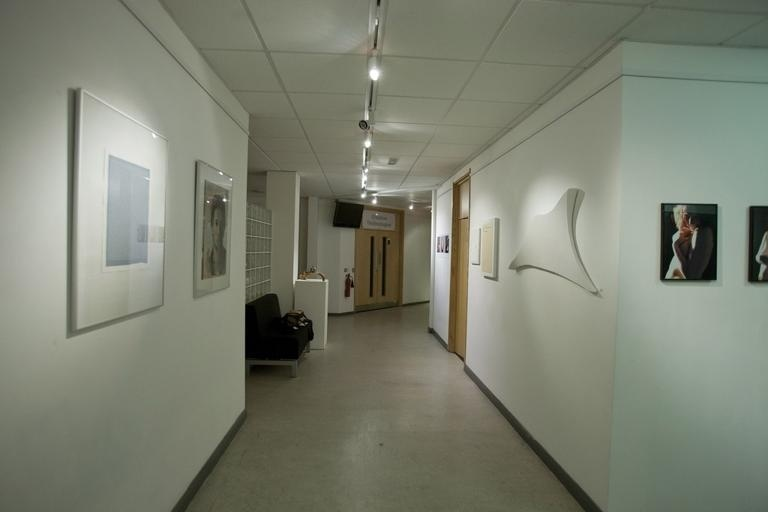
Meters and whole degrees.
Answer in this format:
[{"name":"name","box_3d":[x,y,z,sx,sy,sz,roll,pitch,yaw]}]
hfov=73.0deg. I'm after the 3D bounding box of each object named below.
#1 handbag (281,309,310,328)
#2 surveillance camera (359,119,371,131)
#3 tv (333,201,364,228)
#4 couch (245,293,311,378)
[{"name":"handbag","box_3d":[-1.173,0.842,7.023,0.288,0.123,0.219,4,6,-22]},{"name":"surveillance camera","box_3d":[-0.194,-1.313,5.137,0.098,0.112,0.114,2,16,12]},{"name":"tv","box_3d":[-0.796,-0.921,11.102,0.077,0.416,0.549,13,10,43]},{"name":"couch","box_3d":[-1.346,0.692,6.721,0.672,0.784,1.467,1,4,-5]}]
